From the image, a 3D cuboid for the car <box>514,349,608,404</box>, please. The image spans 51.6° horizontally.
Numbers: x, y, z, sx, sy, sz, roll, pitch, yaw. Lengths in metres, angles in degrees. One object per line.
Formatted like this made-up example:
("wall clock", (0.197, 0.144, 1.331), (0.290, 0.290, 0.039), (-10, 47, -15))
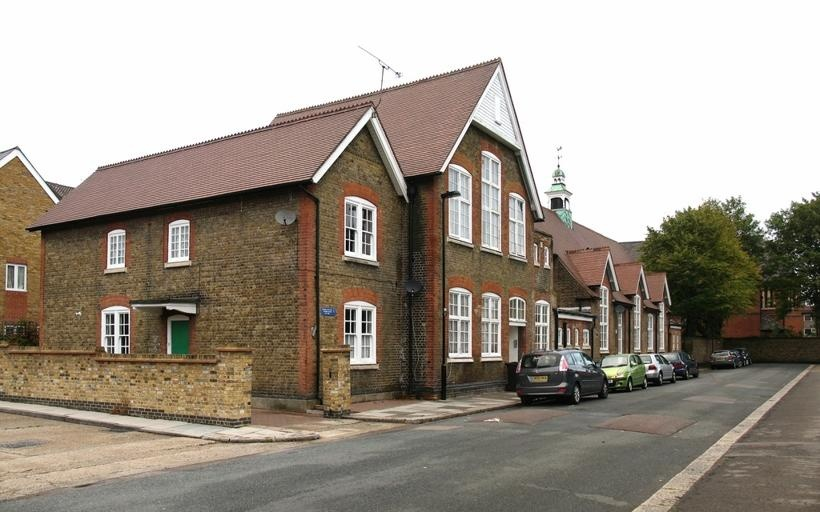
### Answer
("car", (6.472, 4.964, 35.991), (3.965, 2.171, 1.740), (-2, 4, -42))
